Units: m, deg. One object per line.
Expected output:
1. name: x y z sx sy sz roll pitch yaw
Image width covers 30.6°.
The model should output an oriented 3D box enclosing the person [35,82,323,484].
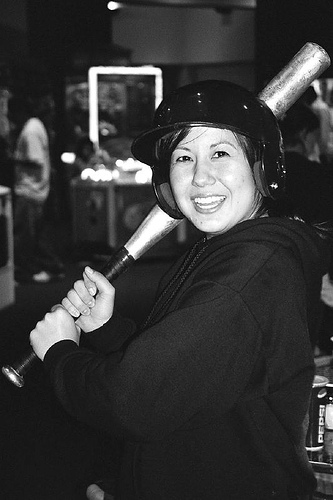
1. person: 0.041 0.057 1.113 0.507 0.717 0.459 -10 15 -41

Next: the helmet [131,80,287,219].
1. helmet: 0.062 -0.202 1.150 0.335 0.222 0.293 -6 9 -10

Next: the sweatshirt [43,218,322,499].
1. sweatshirt: 0.032 0.169 1.299 0.570 0.635 0.540 9 15 10
